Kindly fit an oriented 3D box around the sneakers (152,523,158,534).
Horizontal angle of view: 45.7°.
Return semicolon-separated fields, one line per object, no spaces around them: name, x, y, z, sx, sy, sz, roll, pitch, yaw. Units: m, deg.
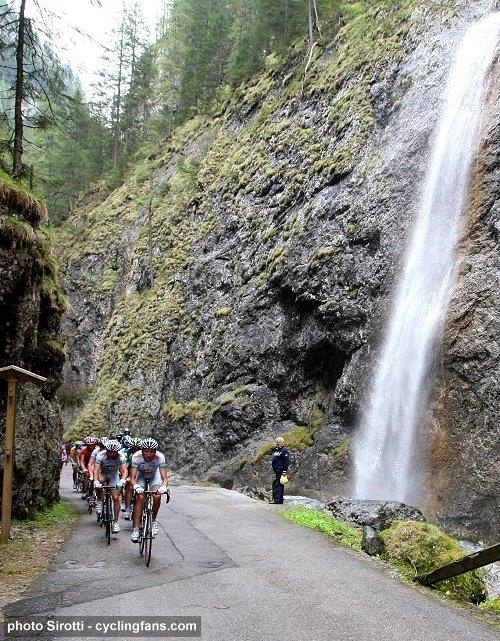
sneakers;-1.361;3.455;9.867;0.081;0.132;0.290;1;-17;-6

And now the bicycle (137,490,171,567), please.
bicycle;-1.482;3.463;9.990;0.193;1.136;0.832;4;-6;-7

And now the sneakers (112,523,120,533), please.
sneakers;-2.127;3.940;11.199;0.133;0.242;0.070;10;-12;-38
